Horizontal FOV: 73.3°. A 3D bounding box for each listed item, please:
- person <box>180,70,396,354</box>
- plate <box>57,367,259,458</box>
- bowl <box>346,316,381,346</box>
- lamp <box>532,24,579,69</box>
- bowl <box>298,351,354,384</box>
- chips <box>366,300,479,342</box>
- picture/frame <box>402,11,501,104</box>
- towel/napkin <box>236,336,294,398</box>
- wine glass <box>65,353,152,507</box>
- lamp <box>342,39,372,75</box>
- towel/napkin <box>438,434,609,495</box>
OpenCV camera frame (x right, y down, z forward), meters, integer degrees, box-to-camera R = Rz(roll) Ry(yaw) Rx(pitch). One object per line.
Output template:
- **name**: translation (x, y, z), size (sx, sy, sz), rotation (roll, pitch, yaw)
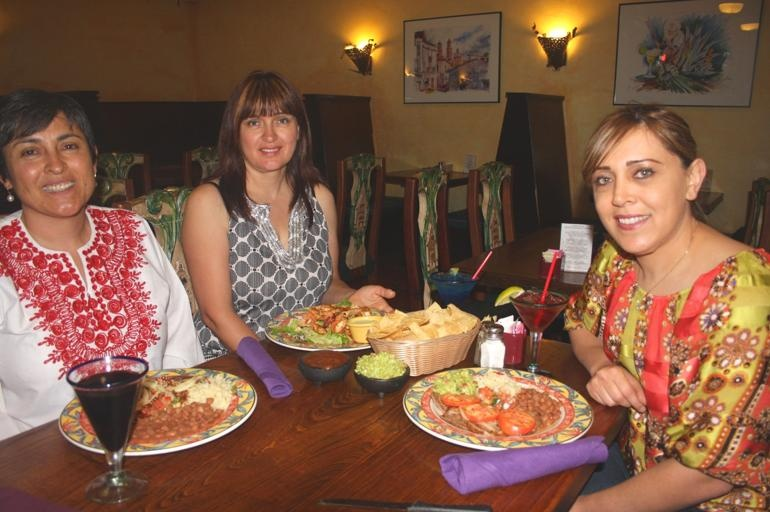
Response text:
- **person**: translation (-0.457, 0.024, 2.396), size (0.695, 1.565, 0.738), rotation (-12, 18, -39)
- **plate**: translation (-0.651, 0.388, 1.533), size (0.404, 0.194, 0.488), rotation (0, 7, 33)
- **bowl**: translation (-0.073, 0.261, 1.896), size (0.095, 0.061, 0.097), rotation (0, 10, 0)
- **lamp**: translation (2.137, -2.624, 6.496), size (0.489, 0.545, 0.151), rotation (3, 12, 24)
- **bowl**: translation (-0.195, 0.355, 1.682), size (0.109, 0.043, 0.111), rotation (3, 10, 0)
- **chips**: translation (0.135, 0.229, 1.783), size (0.355, 0.067, 0.247), rotation (1, 20, 11)
- **picture/frame**: translation (0.962, -2.779, 7.153), size (1.336, 1.102, 0.031), rotation (6, 18, 29)
- **towel/napkin**: translation (-0.391, 0.367, 1.687), size (0.085, 0.062, 0.267), rotation (-14, 28, -33)
- **wine glass**: translation (-0.677, 0.416, 1.296), size (0.203, 0.305, 0.207), rotation (9, 22, 29)
- **lamp**: translation (-0.411, -2.999, 7.853), size (0.493, 0.495, 0.194), rotation (10, 23, 31)
- **towel/napkin**: translation (0.356, 0.521, 1.378), size (0.525, 0.119, 0.150), rotation (-3, 36, -8)
